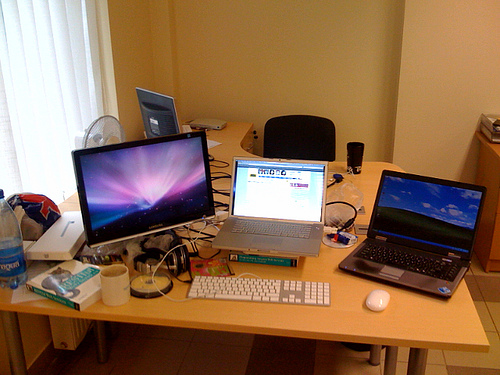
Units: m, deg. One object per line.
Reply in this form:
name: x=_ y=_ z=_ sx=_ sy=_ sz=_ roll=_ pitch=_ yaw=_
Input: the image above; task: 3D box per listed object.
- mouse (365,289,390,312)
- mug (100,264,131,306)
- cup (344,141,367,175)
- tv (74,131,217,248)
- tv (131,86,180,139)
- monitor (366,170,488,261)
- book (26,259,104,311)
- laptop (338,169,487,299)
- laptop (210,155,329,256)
mouse: x=0.525 y=0.459 z=1.578 sx=0.078 sy=0.044 sz=0.108 roll=16 pitch=30 yaw=30
mug: x=-0.567 y=0.407 z=1.626 sx=0.152 sy=0.120 sz=0.115 roll=5 pitch=11 yaw=-38
cup: x=0.758 y=-0.204 z=2.763 sx=0.134 sy=0.203 sz=0.129 roll=-1 pitch=15 yaw=0
tv: x=-0.496 y=0.027 z=1.837 sx=0.517 sy=0.390 sz=0.068 roll=-14 pitch=14 yaw=-20
tv: x=-0.652 y=-0.493 z=2.717 sx=0.078 sy=0.363 sz=0.469 roll=-20 pitch=32 yaw=-36
monitor: x=0.909 y=0.099 z=2.090 sx=0.623 sy=0.402 sz=0.603 roll=15 pitch=25 yaw=36
book: x=-0.760 y=0.410 z=1.670 sx=0.226 sy=0.034 sz=0.176 roll=13 pitch=20 yaw=25
laptop: x=0.748 y=0.194 z=1.753 sx=0.488 sy=0.358 sz=0.491 roll=16 pitch=30 yaw=31
laptop: x=0.107 y=0.067 z=1.834 sx=0.556 sy=0.318 sz=0.487 roll=0 pitch=19 yaw=3
